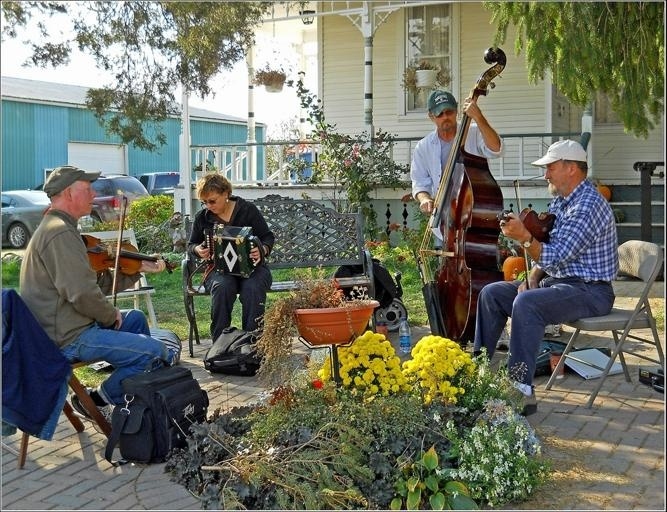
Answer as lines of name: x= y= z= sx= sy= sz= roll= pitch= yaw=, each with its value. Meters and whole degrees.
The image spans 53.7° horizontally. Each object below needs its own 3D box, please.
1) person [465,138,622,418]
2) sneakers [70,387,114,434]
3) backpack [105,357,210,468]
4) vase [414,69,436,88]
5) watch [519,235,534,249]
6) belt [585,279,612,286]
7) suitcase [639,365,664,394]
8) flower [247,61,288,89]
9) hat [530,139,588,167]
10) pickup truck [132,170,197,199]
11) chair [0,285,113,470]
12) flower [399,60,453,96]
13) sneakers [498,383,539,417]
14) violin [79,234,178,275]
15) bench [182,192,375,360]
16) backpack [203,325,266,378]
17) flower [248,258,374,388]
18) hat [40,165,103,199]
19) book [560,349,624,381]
person: x=1.775 y=0.147 z=5.527 sx=1.164 sy=1.958 sz=1.005 roll=0 pitch=11 yaw=29
sneakers: x=-1.751 y=1.125 z=4.770 sx=0.162 sy=0.394 sz=0.134 roll=-16 pitch=42 yaw=23
backpack: x=-1.225 y=1.103 z=4.649 sx=0.472 sy=0.577 sz=0.869 roll=-1 pitch=2 yaw=26
vase: x=1.829 y=-3.533 z=13.038 sx=0.348 sy=0.257 sz=0.354 roll=-1 pitch=6 yaw=2
watch: x=1.486 y=-0.094 z=5.052 sx=0.098 sy=0.106 sz=0.067 roll=-22 pitch=48 yaw=-23
belt: x=2.113 y=0.225 z=5.243 sx=0.117 sy=0.044 sz=0.088 roll=-2 pitch=0 yaw=2
suitcase: x=2.670 y=1.042 z=5.533 sx=0.074 sy=0.189 sz=0.181 roll=-10 pitch=5 yaw=-31
flower: x=-1.396 y=-3.878 z=14.342 sx=0.728 sy=0.582 sz=0.380 roll=-1 pitch=8 yaw=1
hat: x=1.843 y=-0.827 z=5.328 sx=0.349 sy=0.190 sz=0.231 roll=2 pitch=8 yaw=7
pickup truck: x=-5.620 y=-2.307 z=20.998 sx=1.423 sy=1.138 sz=2.649 roll=-5 pitch=10 yaw=-34
chair: x=-1.978 y=0.790 z=4.527 sx=0.608 sy=1.210 sz=0.406 roll=-7 pitch=9 yaw=-32
flower: x=1.860 y=-3.492 z=13.223 sx=0.428 sy=0.772 sz=0.428 roll=4 pitch=23 yaw=29
sneakers: x=1.265 y=1.004 z=4.552 sx=0.245 sy=0.148 sz=0.231 roll=31 pitch=-12 yaw=34
violin: x=-1.749 y=0.036 z=5.677 sx=0.752 sy=0.180 sz=0.322 roll=8 pitch=41 yaw=-19
bench: x=-0.565 y=0.212 z=7.205 sx=2.026 sy=1.580 sz=0.710 roll=-2 pitch=12 yaw=-18
backpack: x=-0.899 y=0.900 z=5.986 sx=0.533 sy=0.311 sz=0.719 roll=-4 pitch=21 yaw=7
flower: x=-0.128 y=0.500 z=4.429 sx=0.824 sy=0.876 sz=0.579 roll=-3 pitch=-7 yaw=-17
hat: x=-1.912 y=-0.557 z=4.842 sx=0.406 sy=0.195 sz=0.245 roll=-12 pitch=-2 yaw=-26
book: x=2.318 y=0.967 z=5.937 sx=0.326 sy=0.085 sz=0.316 roll=-10 pitch=20 yaw=-34
